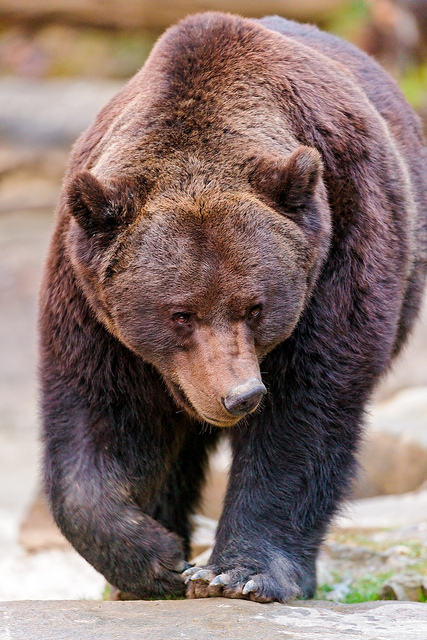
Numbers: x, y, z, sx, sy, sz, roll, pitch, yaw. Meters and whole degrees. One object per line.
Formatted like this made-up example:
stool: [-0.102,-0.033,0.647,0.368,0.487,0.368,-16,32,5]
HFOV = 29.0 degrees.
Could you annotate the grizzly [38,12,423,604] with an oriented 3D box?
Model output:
grizzly: [0.109,-0.095,3.517,1.532,2.644,1.002,4,-3,-15]
